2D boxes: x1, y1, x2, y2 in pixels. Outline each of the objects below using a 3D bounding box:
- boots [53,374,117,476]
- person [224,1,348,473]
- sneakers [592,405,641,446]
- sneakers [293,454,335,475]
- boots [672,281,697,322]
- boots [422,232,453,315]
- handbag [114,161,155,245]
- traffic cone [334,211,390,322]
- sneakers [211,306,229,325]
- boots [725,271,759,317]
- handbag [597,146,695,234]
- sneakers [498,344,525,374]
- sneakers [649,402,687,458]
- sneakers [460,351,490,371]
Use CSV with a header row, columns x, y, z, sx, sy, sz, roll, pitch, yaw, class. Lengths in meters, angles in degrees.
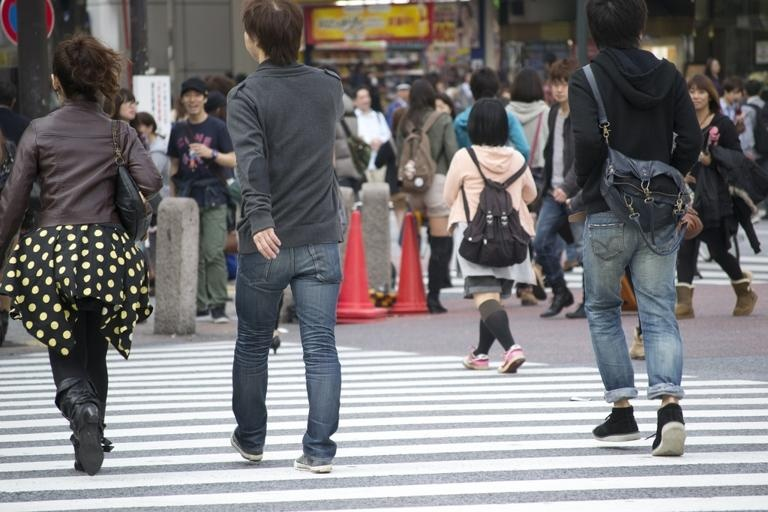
x,y,z,sx,sy,sz,roll,pitch,yaw,class
-2.022,1.123,8.200,0.276,0.738,0.532,-19,33,-21,boots
-0.676,-0.133,8.209,0.785,3.142,0.478,-2,7,-5,person
1.666,1.218,8.771,0.238,0.242,0.389,0,-8,-38,sneakers
-0.480,1.408,8.293,0.259,0.118,0.109,8,8,41,sneakers
3.133,0.485,12.889,0.398,0.398,0.222,-6,5,-40,boots
0.639,0.100,14.101,0.303,1.137,0.366,0,-7,0,boots
-1.767,-0.381,8.599,0.271,0.519,0.414,-2,24,-14,handbag
-0.351,0.152,13.933,0.975,1.222,0.998,1,-4,15,traffic cone
-1.888,0.680,13.936,0.296,0.203,0.117,-3,-3,38,sneakers
3.830,0.408,12.999,0.187,0.426,0.466,3,41,35,boots
1.824,-0.430,8.453,0.505,0.295,0.619,7,42,-9,handbag
1.145,0.916,10.734,0.138,0.172,0.371,-22,-11,-21,sneakers
1.961,1.192,8.383,0.215,0.411,0.218,0,7,12,sneakers
0.838,0.953,11.033,0.120,0.113,0.245,-4,10,-21,sneakers
